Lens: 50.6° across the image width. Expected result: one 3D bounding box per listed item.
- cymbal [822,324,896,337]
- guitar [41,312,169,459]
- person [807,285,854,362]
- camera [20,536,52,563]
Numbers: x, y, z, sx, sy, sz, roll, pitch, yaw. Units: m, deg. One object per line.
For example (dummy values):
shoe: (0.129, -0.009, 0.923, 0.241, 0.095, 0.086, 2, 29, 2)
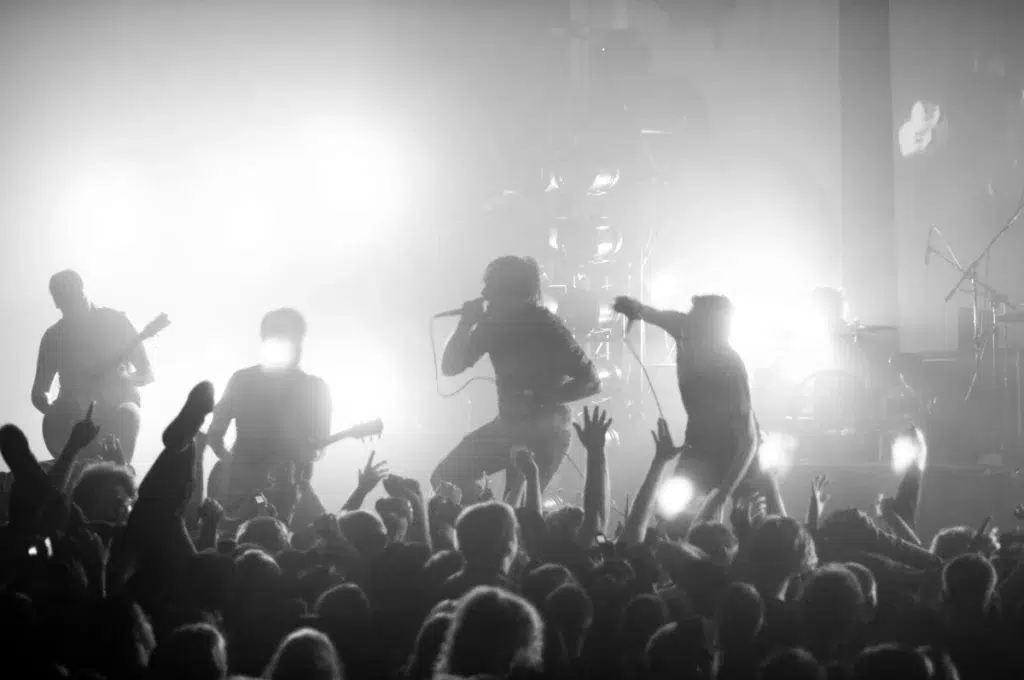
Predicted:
cymbal: (3.969, -0.113, 12.410, 0.756, 0.180, 0.330, -2, -13, 20)
guitar: (-3.580, 0.383, 9.445, 0.819, 0.996, 1.825, 26, 8, -29)
person: (3.741, -0.189, 12.708, 0.456, 0.998, 0.689, 0, -13, 15)
camera: (-2.893, 1.281, 6.616, 0.151, 0.134, 0.144, 4, -18, -21)
